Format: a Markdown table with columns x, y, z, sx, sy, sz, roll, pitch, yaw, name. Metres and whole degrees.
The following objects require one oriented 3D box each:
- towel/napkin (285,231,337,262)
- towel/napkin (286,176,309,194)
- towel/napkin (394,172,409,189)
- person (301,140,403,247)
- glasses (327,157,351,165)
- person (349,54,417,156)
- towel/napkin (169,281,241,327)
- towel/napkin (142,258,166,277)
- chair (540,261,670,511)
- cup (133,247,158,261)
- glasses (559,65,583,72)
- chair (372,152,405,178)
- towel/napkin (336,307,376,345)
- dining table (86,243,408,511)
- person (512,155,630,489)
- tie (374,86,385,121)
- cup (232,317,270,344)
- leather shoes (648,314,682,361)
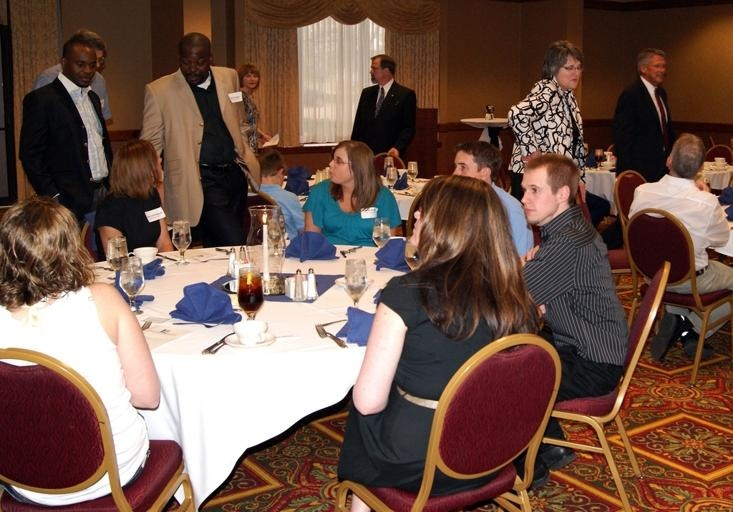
| x | y | z | sx | sy | sz | roll | pitch | yaw | name |
| --- | --- | --- | --- | --- | --- | --- | --- | --- | --- |
| -0.303 | -0.057 | 3.248 | 0.190 | 0.094 | 0.165 | -2 | 10 | -6 | towel/napkin |
| -0.640 | -0.653 | 5.469 | 0.191 | 0.117 | 0.287 | 2 | 7 | -2 | towel/napkin |
| 0.343 | -0.685 | 5.578 | 0.059 | 0.189 | 0.123 | 12 | 16 | -30 | towel/napkin |
| -0.090 | -0.450 | 4.087 | 0.656 | 0.781 | 0.470 | 7 | 35 | 6 | person |
| -0.193 | -0.634 | 3.942 | 0.095 | 0.055 | 0.184 | -12 | 20 | -37 | glasses |
| 0.240 | -1.859 | 7.396 | 0.504 | 1.224 | 0.813 | -13 | 20 | -43 | person |
| -0.661 | 0.205 | 2.419 | 0.200 | 0.089 | 0.180 | 3 | 19 | -6 | towel/napkin |
| -1.063 | 0.056 | 2.962 | 0.080 | 0.031 | 0.081 | -13 | 21 | -34 | towel/napkin |
| 1.085 | 0.586 | 2.688 | 0.401 | 1.149 | 0.921 | 7 | 16 | 27 | chair |
| -1.131 | -0.010 | 3.031 | 0.091 | 0.062 | 0.123 | 0 | 0 | 4 | cup |
| 1.749 | -1.580 | 4.987 | 0.241 | 0.064 | 0.096 | -13 | 20 | -37 | glasses |
| 0.258 | -1.061 | 6.681 | 0.437 | 0.410 | 0.490 | 1 | 5 | 1 | chair |
| -0.065 | 0.243 | 2.314 | 0.141 | 0.059 | 0.137 | -12 | 28 | -43 | towel/napkin |
| -0.478 | 0.319 | 2.609 | 0.879 | 0.572 | 0.974 | 1 | 9 | -5 | dining table |
| 0.904 | 0.317 | 2.815 | 0.601 | 1.538 | 0.514 | 2 | 10 | 25 | person |
| 0.173 | -1.953 | 7.397 | 0.066 | 0.548 | 0.073 | 7 | -7 | 20 | tie |
| -0.436 | 0.283 | 2.229 | 0.077 | 0.060 | 0.104 | 0 | 0 | 16 | cup |
| 2.105 | 0.551 | 4.203 | 0.147 | 0.425 | 0.134 | 16 | 1 | -45 | leather shoes |
